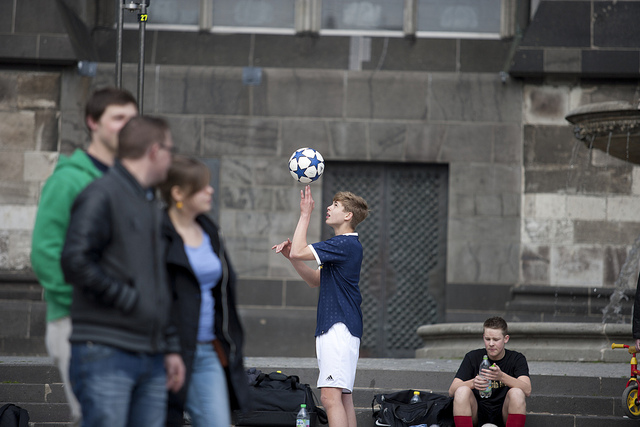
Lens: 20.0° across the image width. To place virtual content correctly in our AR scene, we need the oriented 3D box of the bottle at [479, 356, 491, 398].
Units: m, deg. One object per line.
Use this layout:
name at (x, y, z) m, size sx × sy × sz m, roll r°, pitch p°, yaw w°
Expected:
bottle at (2.110, 2.089, 23.355) m, size 0.145 × 0.534 × 0.220 m, roll 1°, pitch -2°, yaw 4°

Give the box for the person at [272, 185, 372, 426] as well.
person at (0.109, 1.162, 22.954) m, size 0.901 × 3.005 × 0.507 m, roll 1°, pitch -2°, yaw 1°

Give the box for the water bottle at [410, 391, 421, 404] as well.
water bottle at (1.249, 2.395, 23.816) m, size 0.144 × 0.193 × 0.125 m, roll 7°, pitch -22°, yaw 5°
